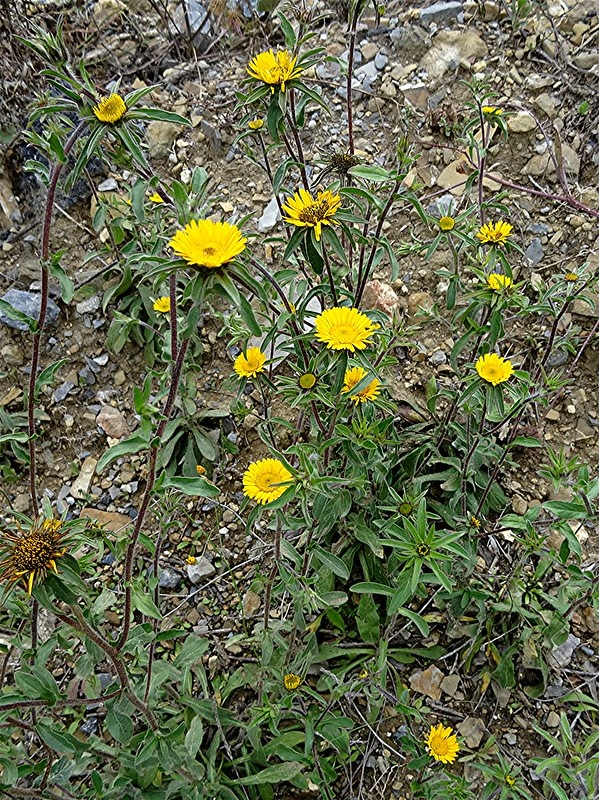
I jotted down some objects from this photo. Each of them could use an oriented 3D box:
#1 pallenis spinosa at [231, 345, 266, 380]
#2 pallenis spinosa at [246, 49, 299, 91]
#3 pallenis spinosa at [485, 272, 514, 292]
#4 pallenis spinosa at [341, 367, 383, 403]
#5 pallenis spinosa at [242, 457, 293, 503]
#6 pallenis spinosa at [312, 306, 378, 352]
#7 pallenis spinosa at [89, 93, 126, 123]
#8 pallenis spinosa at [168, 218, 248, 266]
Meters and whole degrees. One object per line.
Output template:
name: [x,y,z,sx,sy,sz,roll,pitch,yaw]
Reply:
pallenis spinosa: [-0.210,-0.158,2.985,0.135,0.056,0.132,-5,74,18]
pallenis spinosa: [-0.096,-1.215,2.664,0.176,0.143,0.218,-6,56,-3]
pallenis spinosa: [0.794,-0.466,2.930,0.087,0.039,0.087,25,41,33]
pallenis spinosa: [0.241,-0.056,2.863,0.147,0.056,0.146,-20,63,-8]
pallenis spinosa: [-0.146,0.304,2.772,0.180,0.063,0.177,-16,56,11]
pallenis spinosa: [0.156,-0.252,2.604,0.205,0.140,0.258,-1,56,1]
pallenis spinosa: [-0.624,-0.965,2.393,0.102,0.059,0.103,-16,91,2]
pallenis spinosa: [-0.267,-0.444,2.128,0.190,0.055,0.155,20,58,14]
